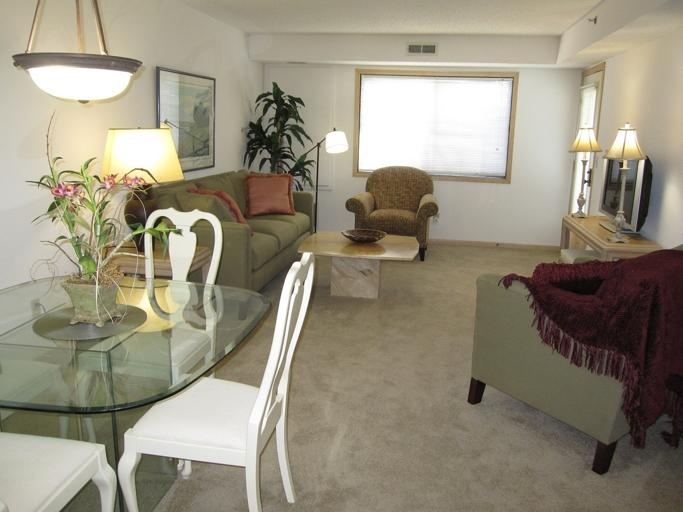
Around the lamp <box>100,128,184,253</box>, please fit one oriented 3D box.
[{"bbox_3d":[-1.291,-0.566,3.682,0.580,0.824,0.701,-1,10,-11],"label":"lamp"}]

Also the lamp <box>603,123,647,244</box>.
[{"bbox_3d":[2.581,-0.704,4.508,0.303,0.997,1.009,7,15,28],"label":"lamp"}]

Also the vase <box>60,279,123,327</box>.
[{"bbox_3d":[-1.097,0.185,2.162,0.210,0.184,0.192,1,2,12],"label":"vase"}]

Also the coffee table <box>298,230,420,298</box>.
[{"bbox_3d":[0.181,0.115,4.929,1.138,0.559,0.852,1,14,6],"label":"coffee table"}]
